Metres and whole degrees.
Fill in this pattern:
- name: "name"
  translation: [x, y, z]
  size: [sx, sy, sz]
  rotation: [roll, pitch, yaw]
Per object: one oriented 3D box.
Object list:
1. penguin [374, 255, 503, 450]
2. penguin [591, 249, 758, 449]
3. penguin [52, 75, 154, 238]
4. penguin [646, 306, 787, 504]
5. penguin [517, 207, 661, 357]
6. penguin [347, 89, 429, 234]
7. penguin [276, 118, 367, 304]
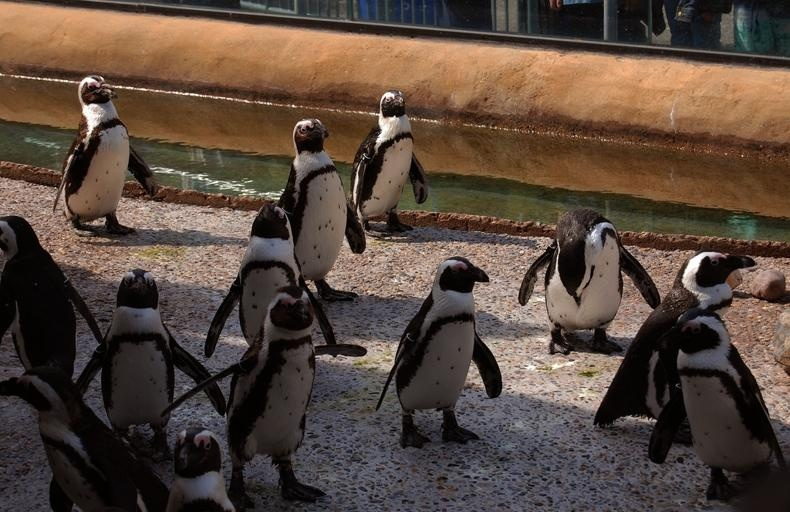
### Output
- name: "penguin"
  translation: [0.327, 0.719, 8.548]
  size: [0.920, 1.401, 0.879]
  rotation: [2, 5, 24]
- name: "penguin"
  translation: [2.077, 0.713, 8.994]
  size: [1.191, 1.411, 1.599]
  rotation: [2, -1, 3]
- name: "penguin"
  translation: [-2.833, -1.027, 11.111]
  size: [0.986, 1.533, 0.895]
  rotation: [-3, 14, -21]
- name: "penguin"
  translation: [2.315, 1.059, 8.078]
  size: [0.886, 1.335, 0.374]
  rotation: [8, 17, 19]
- name: "penguin"
  translation: [1.605, 0.208, 9.351]
  size: [1.230, 1.131, 0.775]
  rotation: [1, 8, 10]
- name: "penguin"
  translation: [-0.099, -0.957, 11.309]
  size: [0.873, 1.359, 0.747]
  rotation: [-7, 17, -27]
- name: "penguin"
  translation: [-0.733, -0.400, 9.971]
  size: [0.656, 1.548, 0.961]
  rotation: [2, 11, 35]
